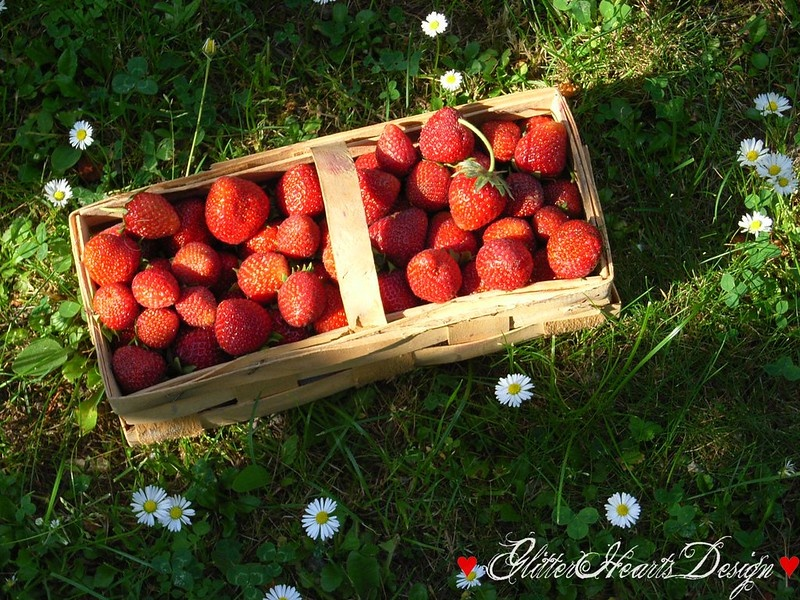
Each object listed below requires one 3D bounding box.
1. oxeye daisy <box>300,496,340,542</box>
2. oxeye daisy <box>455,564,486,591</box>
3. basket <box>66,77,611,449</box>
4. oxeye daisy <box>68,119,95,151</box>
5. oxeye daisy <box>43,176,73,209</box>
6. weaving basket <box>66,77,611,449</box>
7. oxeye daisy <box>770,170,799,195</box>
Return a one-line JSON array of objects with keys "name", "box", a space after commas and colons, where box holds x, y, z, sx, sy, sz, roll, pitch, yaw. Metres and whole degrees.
[{"name": "oxeye daisy", "box": [-0.297, 0.815, 2.403, 0.142, 0.124, 0.134, -17, 60, 8]}, {"name": "oxeye daisy", "box": [0.256, 1.011, 2.367, 0.089, 0.024, 0.091, 37, 94, -19]}, {"name": "basket", "box": [-0.225, -0.093, 2.774, 2.025, 0.806, 1.246, -19, 81, 3]}, {"name": "oxeye daisy", "box": [-1.361, -0.697, 2.834, 0.119, 0.050, 0.145, 8, 85, 17]}, {"name": "oxeye daisy", "box": [-1.453, -0.454, 2.777, 0.107, 0.046, 0.131, -6, 89, -5]}, {"name": "weaving basket", "box": [-0.229, -0.099, 2.781, 2.025, 0.806, 1.246, -19, 81, 3]}, {"name": "oxeye daisy", "box": [1.589, -0.481, 2.713, 0.092, 0.036, 0.113, -7, 82, -6]}]
